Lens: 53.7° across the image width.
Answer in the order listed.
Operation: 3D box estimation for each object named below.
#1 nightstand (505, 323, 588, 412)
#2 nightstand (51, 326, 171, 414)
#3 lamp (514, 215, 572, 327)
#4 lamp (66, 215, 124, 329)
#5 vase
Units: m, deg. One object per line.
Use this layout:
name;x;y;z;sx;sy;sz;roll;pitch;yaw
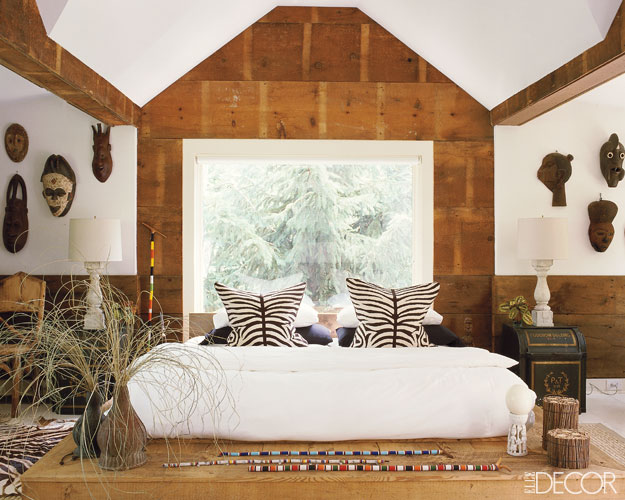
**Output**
nightstand;2.005;1.014;5.300;0.556;0.721;0.743;1;-13;6
nightstand;-1.131;0.679;3.498;0.700;0.323;0.721;-11;12;-11
lamp;1.954;0.178;5.297;0.391;0.927;0.404;-2;-2;17
lamp;-1.789;0.198;5.120;0.432;0.915;0.497;0;-2;-22
vase;-1.038;0.929;3.221;0.438;0.446;0.267;1;-6;4
